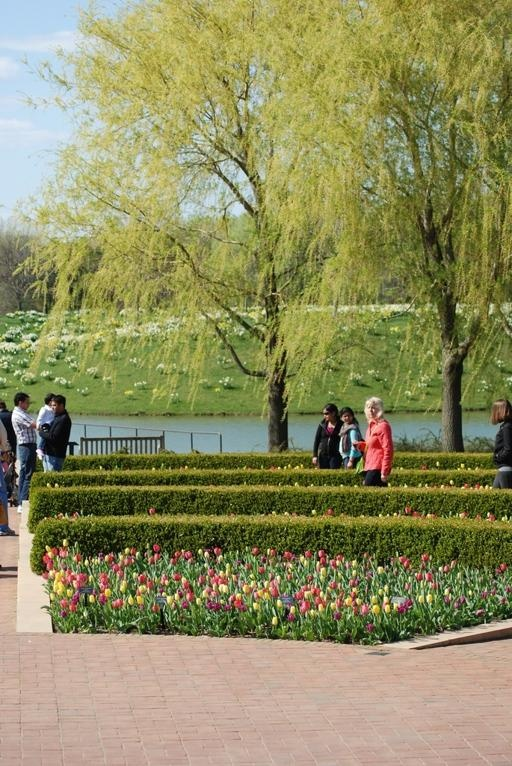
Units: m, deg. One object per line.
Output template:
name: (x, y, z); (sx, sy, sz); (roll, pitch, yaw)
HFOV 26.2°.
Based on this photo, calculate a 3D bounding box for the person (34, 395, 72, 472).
person: (-2.972, 0.782, 15.985); (0.369, 0.441, 1.236); (-2, -39, -17)

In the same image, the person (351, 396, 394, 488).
person: (1.327, 0.659, 12.016); (0.293, 0.811, 0.757); (0, 0, 5)
